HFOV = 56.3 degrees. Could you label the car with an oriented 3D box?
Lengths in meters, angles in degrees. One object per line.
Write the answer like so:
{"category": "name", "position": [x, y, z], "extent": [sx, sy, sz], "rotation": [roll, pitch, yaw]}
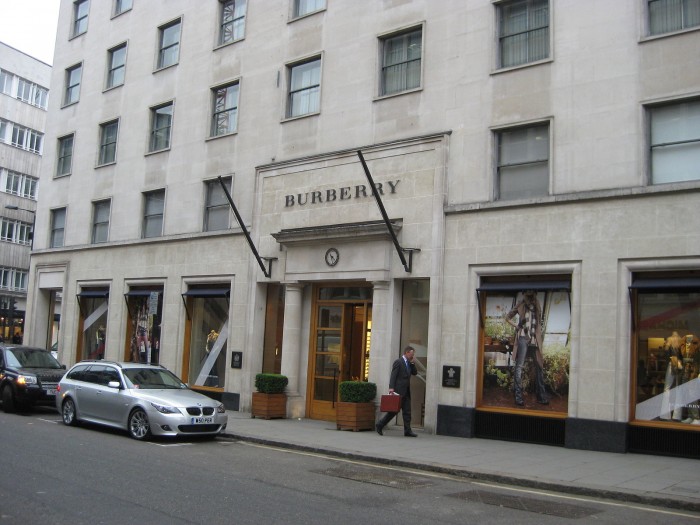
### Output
{"category": "car", "position": [-5.585, 3.588, 17.135], "extent": [4.354, 1.424, 1.944], "rotation": [-4, -11, 37]}

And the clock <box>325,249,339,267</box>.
{"category": "clock", "position": [-0.550, -0.153, 20.809], "extent": [0.428, 0.459, 0.058], "rotation": [-23, -21, 39]}

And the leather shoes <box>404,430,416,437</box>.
{"category": "leather shoes", "position": [1.635, 4.588, 17.601], "extent": [0.254, 0.122, 0.134], "rotation": [-5, -8, 32]}

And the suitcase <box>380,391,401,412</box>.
{"category": "suitcase", "position": [1.096, 3.701, 17.440], "extent": [0.643, 0.698, 0.365], "rotation": [-1, -18, 7]}

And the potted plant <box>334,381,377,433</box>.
{"category": "potted plant", "position": [0.264, 4.218, 19.251], "extent": [1.288, 1.604, 1.189], "rotation": [7, -12, -37]}

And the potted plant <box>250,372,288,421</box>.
{"category": "potted plant", "position": [-2.560, 4.295, 21.126], "extent": [0.959, 1.352, 1.089], "rotation": [5, -8, -21]}
